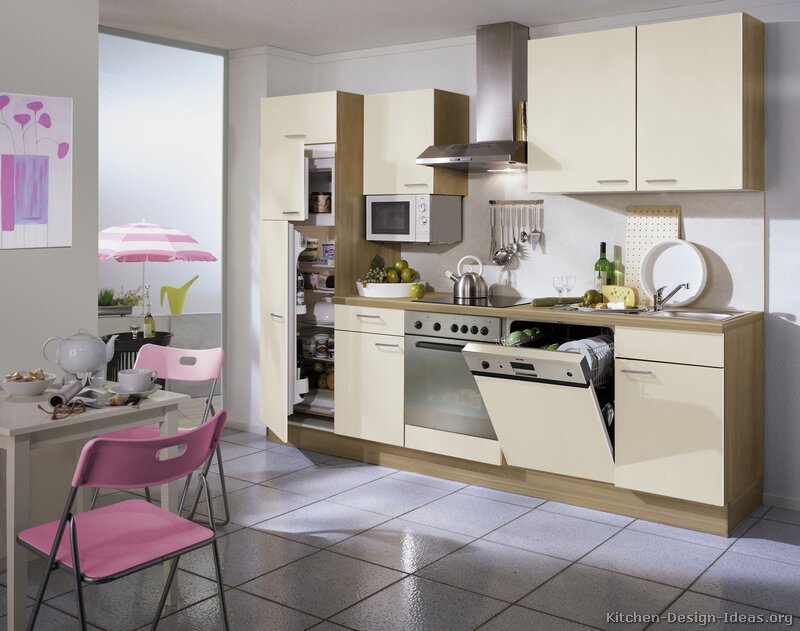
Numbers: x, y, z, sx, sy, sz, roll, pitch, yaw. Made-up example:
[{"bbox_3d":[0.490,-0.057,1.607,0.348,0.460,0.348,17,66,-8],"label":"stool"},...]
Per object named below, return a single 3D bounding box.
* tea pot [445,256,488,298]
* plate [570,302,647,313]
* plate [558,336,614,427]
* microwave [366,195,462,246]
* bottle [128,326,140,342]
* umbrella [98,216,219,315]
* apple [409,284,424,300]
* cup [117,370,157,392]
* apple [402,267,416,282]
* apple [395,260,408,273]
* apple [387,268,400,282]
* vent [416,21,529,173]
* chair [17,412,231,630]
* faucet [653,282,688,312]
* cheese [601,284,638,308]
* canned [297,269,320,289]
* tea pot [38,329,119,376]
[{"bbox_3d":[0.456,-0.280,4.624,0.380,0.368,0.248,1,2,23],"label":"tea pot"},{"bbox_3d":[1.296,-0.053,3.897,0.460,0.036,0.532,2,6,17],"label":"plate"},{"bbox_3d":[1.090,0.307,3.651,0.282,0.337,0.620,4,7,32],"label":"plate"},{"bbox_3d":[0.142,-0.715,4.738,0.654,0.368,0.390,0,0,34],"label":"microwave"},{"bbox_3d":[-2.098,0.142,4.989,0.094,0.140,0.103,1,3,0],"label":"bottle"},{"bbox_3d":[-1.942,-0.405,5.105,0.758,0.514,0.767,1,4,4],"label":"umbrella"},{"bbox_3d":[0.128,-0.180,4.615,0.105,0.097,0.104,1,-1,0],"label":"apple"},{"bbox_3d":[-1.158,0.288,2.759,0.094,0.076,0.114,-1,-6,-13],"label":"cup"},{"bbox_3d":[0.083,-0.315,4.818,0.070,0.102,0.164,5,7,38],"label":"apple"},{"bbox_3d":[0.015,-0.390,4.876,0.105,0.119,0.100,0,0,15],"label":"apple"},{"bbox_3d":[-0.052,-0.303,4.723,0.093,0.108,0.155,1,6,4],"label":"apple"},{"bbox_3d":[0.578,-1.522,4.316,0.831,1.001,0.619,8,11,40],"label":"vent"},{"bbox_3d":[-0.983,0.726,2.283,0.640,0.733,0.542,-4,7,-40],"label":"chair"},{"bbox_3d":[1.654,-0.114,3.819,0.182,0.171,0.336,3,6,26],"label":"faucet"},{"bbox_3d":[1.420,-0.123,4.054,0.160,0.134,0.056,1,2,43],"label":"cheese"},{"bbox_3d":[-0.728,-0.287,4.891,0.243,0.157,0.130,0,-3,39],"label":"canned"},{"bbox_3d":[-1.442,0.184,2.846,0.248,0.225,0.287,-2,6,-21],"label":"tea pot"}]
